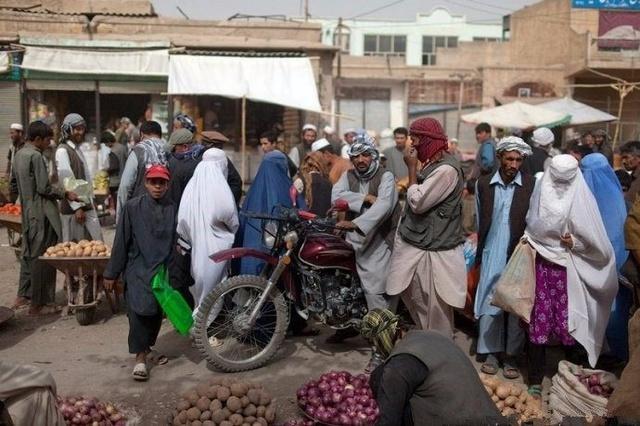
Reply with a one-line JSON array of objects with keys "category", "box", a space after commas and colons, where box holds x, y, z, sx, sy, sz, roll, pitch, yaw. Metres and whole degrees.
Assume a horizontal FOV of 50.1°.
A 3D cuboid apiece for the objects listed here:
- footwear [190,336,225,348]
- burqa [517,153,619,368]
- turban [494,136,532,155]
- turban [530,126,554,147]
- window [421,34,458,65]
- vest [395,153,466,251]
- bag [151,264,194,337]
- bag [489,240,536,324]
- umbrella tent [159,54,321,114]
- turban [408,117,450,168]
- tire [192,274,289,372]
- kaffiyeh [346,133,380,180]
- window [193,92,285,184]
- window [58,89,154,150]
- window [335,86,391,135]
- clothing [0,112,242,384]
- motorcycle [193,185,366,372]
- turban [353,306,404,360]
[{"category": "footwear", "box": [-1.385, 1.598, 8.409, 0.259, 0.085, 0.335, -1, -4, 33]}, {"category": "burqa", "box": [2.886, 0.537, 7.887, 1.034, 2.404, 0.425, 5, 8, 24]}, {"category": "turban", "box": [2.301, -0.801, 8.131, 0.397, 0.225, 0.195, 4, 7, 11]}, {"category": "turban", "box": [3.528, -1.246, 10.821, 0.295, 0.307, 0.273, -8, 32, -19]}, {"category": "window", "box": [6.916, -9.372, 39.564, 2.274, 1.809, 0.156, -3, 4, -13]}, {"category": "vest", "box": [1.472, -0.014, 8.667, 0.875, 1.430, 1.261, 3, 10, -2]}, {"category": "bag", "box": [-1.807, 1.121, 8.435, 0.378, 0.259, 0.986, -30, 49, -6]}, {"category": "bag", "box": [2.282, 0.744, 7.932, 0.529, 0.946, 0.354, 14, 20, 23]}, {"category": "umbrella tent", "box": [-1.711, -3.016, 15.342, 2.493, 0.812, 1.826, 3, 6, -8]}, {"category": "turban", "box": [1.363, -0.893, 8.293, 0.505, 0.658, 0.457, 3, 13, 13]}, {"category": "tire", "box": [-0.977, 1.360, 8.436, 0.871, 0.898, 0.262, 23, -5, -30]}, {"category": "kaffiyeh", "box": [0.574, -0.702, 8.511, 0.459, 0.742, 0.507, 0, 13, 18]}, {"category": "window", "box": [-2.329, -1.824, 19.346, 2.196, 2.170, 1.221, 3, -17, -34]}, {"category": "window", "box": [-6.135, -2.505, 19.783, 2.386, 1.295, 1.648, 0, 24, -9]}, {"category": "window", "box": [1.791, -4.188, 27.704, 2.200, 2.468, 0.127, 2, 46, 5]}, {"category": "clothing", "box": [-3.170, 0.206, 9.534, 4.096, 2.656, 2.232, 16, 12, 43]}, {"category": "motorcycle", "box": [-0.858, 0.809, 8.687, 2.892, 1.685, 1.322, 6, 16, -26]}, {"category": "turban", "box": [0.667, 1.123, 6.780, 0.468, 0.491, 0.391, -16, 15, 3]}]
